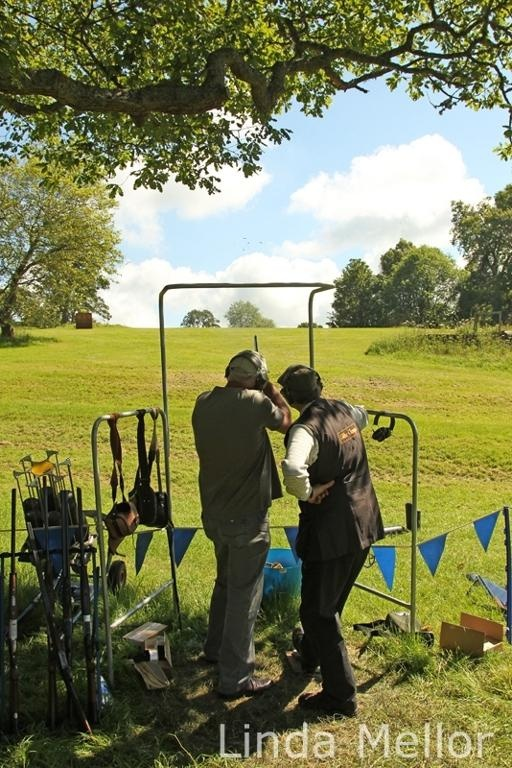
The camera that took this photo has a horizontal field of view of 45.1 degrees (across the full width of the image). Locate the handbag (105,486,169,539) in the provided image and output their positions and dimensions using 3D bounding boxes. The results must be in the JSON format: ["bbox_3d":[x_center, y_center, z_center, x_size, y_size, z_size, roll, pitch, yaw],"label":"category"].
[{"bbox_3d":[-0.764,0.809,3.881,0.371,0.174,0.266,-7,7,13],"label":"handbag"}]

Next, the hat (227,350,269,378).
[{"bbox_3d":[-0.046,-0.124,3.572,0.147,0.176,0.194,12,1,3],"label":"hat"}]

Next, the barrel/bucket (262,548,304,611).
[{"bbox_3d":[0.205,1.502,4.843,0.373,0.414,0.387,0,-14,0],"label":"barrel/bucket"}]

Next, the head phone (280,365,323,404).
[{"bbox_3d":[0.246,0.004,3.432,0.179,0.130,0.247,-4,40,-6],"label":"head phone"}]

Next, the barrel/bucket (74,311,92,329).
[{"bbox_3d":[-6.027,-2.197,21.196,0.671,0.673,0.675,0,-3,0],"label":"barrel/bucket"}]

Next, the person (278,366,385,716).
[{"bbox_3d":[0.348,0.835,3.289,0.418,1.877,0.866,1,3,39],"label":"person"}]

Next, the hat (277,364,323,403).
[{"bbox_3d":[0.254,0.004,3.433,0.178,0.137,0.244,-6,36,-7],"label":"hat"}]

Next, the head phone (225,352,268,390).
[{"bbox_3d":[-0.056,-0.098,3.562,0.201,0.228,0.196,9,43,15],"label":"head phone"}]

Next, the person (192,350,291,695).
[{"bbox_3d":[-0.073,0.792,3.625,0.610,1.983,0.499,0,2,15],"label":"person"}]
